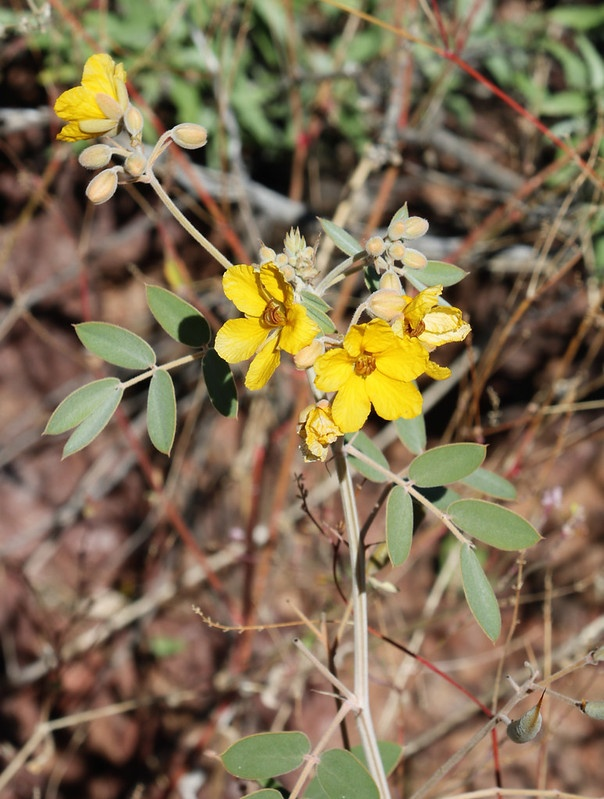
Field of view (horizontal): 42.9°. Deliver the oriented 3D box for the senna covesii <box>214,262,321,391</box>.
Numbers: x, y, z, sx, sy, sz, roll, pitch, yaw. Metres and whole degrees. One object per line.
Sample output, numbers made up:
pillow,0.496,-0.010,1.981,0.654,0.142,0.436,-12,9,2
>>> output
senna covesii,-0.074,-0.136,1.496,0.187,0.185,0.243,-3,65,-8
